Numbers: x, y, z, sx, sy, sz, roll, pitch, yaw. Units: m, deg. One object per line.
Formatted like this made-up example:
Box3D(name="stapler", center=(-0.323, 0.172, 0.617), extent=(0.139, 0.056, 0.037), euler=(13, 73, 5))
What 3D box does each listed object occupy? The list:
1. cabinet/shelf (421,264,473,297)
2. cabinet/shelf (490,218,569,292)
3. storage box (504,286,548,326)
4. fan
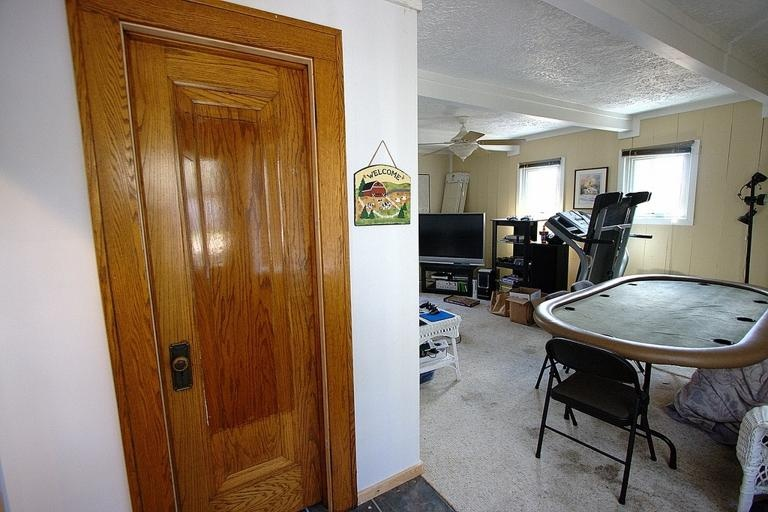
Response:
Box3D(name="cabinet/shelf", center=(1.045, 0.368, 7.610), extent=(0.961, 0.519, 0.530), euler=(0, -7, 7))
Box3D(name="cabinet/shelf", center=(1.874, -0.023, 6.725), extent=(0.855, 1.387, 1.168), euler=(-5, 6, -39))
Box3D(name="storage box", center=(1.726, 0.597, 6.023), extent=(0.470, 0.405, 0.624), euler=(8, 11, 41))
Box3D(name="fan", center=(1.166, -1.563, 6.287), extent=(0.998, 0.423, 0.985), euler=(2, 4, 26))
